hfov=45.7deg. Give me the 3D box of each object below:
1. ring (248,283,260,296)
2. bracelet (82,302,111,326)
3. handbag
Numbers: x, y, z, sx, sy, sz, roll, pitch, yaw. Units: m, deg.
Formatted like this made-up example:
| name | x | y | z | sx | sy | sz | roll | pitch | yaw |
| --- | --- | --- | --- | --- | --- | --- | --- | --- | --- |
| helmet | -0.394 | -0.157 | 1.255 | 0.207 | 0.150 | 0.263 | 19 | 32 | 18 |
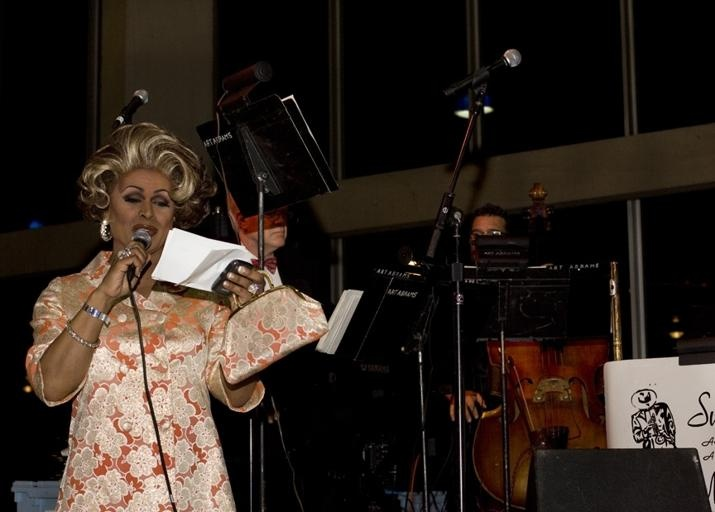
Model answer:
| name | x | y | z | sx | sy | sz | roll | pitch | yaw |
| --- | --- | --- | --- | --- | --- | --- | --- | --- | --- |
| ring | -0.436 | 0.143 | 3.546 | 0.040 | 0.048 | 0.012 | 2 | 9 | -3 |
| bracelet | -1.045 | 0.248 | 3.383 | 0.079 | 0.022 | 0.082 | 39 | -9 | -22 |
| handbag | -0.384 | 0.356 | 3.806 | 0.544 | 0.366 | 0.207 | -29 | 1 | 1 |
